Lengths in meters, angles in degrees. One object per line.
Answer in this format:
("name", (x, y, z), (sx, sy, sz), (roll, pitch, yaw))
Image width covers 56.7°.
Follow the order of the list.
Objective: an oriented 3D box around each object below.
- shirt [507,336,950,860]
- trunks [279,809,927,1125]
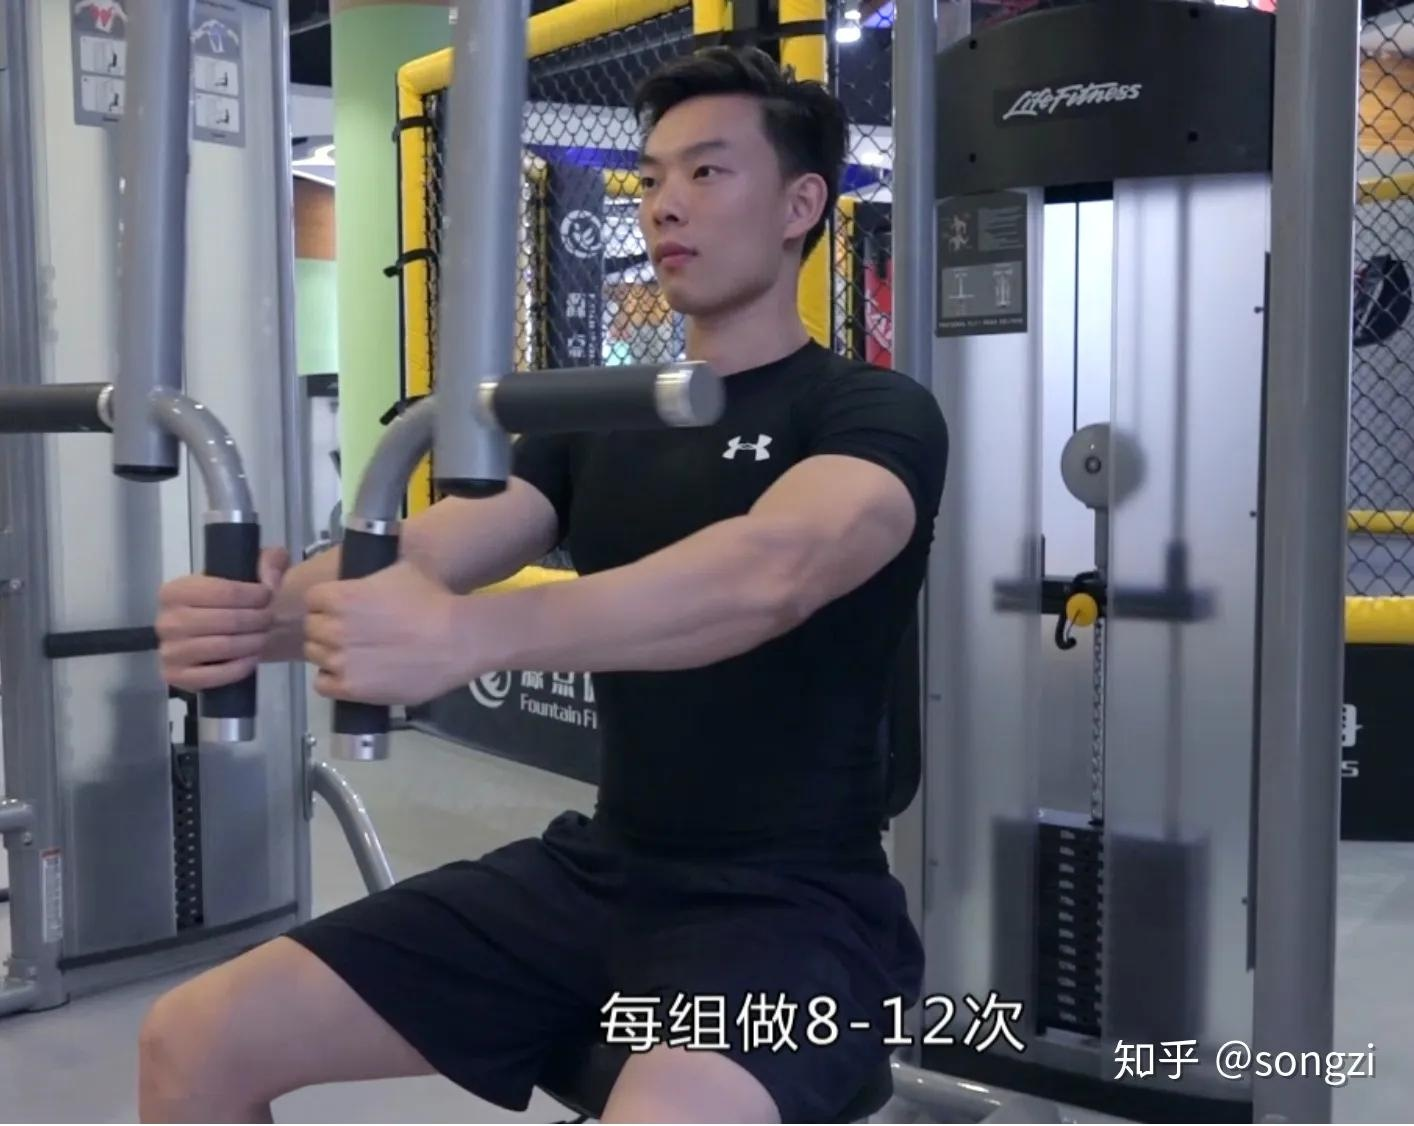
("shirt", (0.019, 0.055, 1.532), (0.508, 0.636, 0.339), (1, 8, 15))
("trunks", (-0.097, 0.418, 1.343), (0.590, 0.248, 0.322), (2, 4, 19))
